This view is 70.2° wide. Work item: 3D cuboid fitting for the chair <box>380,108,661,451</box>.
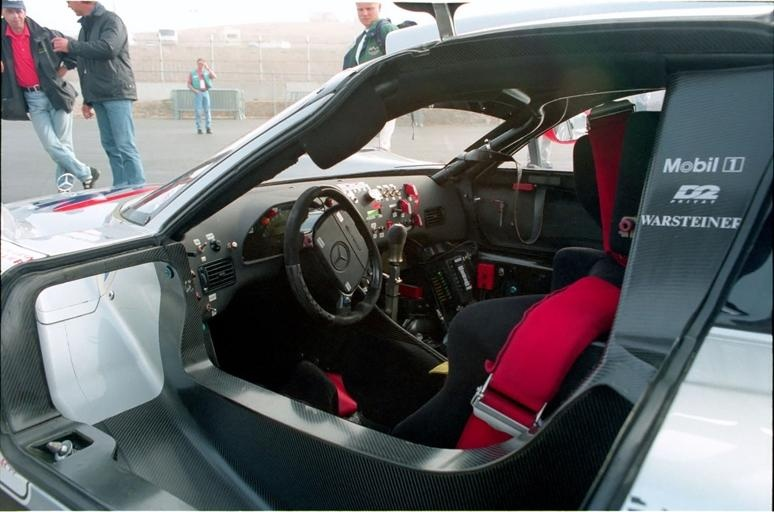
[{"bbox_3d":[0.500,0.056,1.748,0.511,1.029,0.897,17,27,34],"label":"chair"}]
